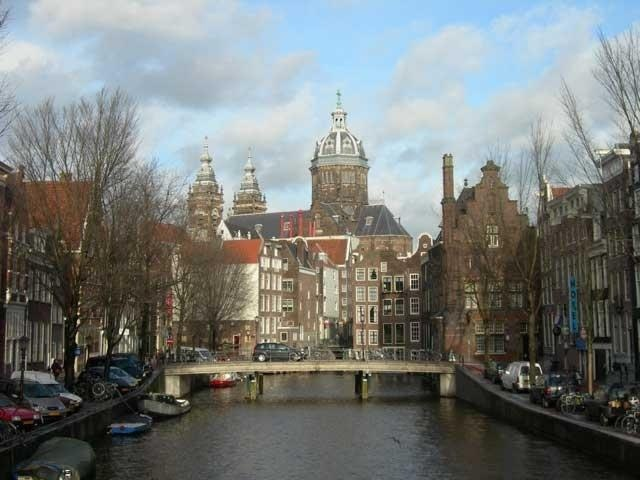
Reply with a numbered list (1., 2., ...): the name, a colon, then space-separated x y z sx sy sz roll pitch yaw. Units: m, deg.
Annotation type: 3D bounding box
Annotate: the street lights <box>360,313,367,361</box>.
1. street lights: 5.466 11.628 119.663 0.599 4.913 0.652 -1 -11 0
